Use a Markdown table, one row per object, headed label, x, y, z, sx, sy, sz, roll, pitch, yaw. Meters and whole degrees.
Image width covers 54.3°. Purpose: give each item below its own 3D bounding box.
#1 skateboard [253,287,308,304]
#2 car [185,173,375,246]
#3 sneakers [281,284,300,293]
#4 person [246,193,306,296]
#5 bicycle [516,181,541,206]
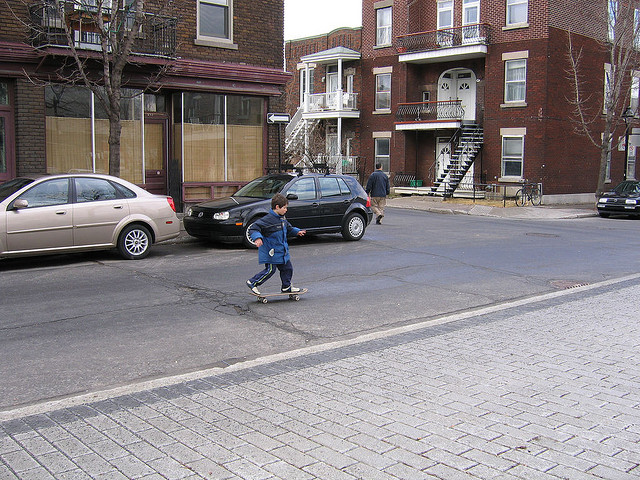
| label | x | y | z | sx | sy | sz | roll | pitch | yaw |
| --- | --- | --- | --- | --- | --- | --- | --- | --- | --- |
| skateboard | -0.589 | 0.901 | 10.113 | 1.084 | 0.176 | 0.286 | -4 | 12 | -21 |
| car | -0.884 | -0.841 | 16.062 | 4.494 | 1.456 | 1.987 | -1 | 4 | -28 |
| sneakers | -0.476 | 0.793 | 10.154 | 0.346 | 0.139 | 0.110 | -2 | 5 | -8 |
| person | -0.697 | 0.103 | 9.946 | 0.858 | 1.692 | 1.060 | 1 | 9 | -1 |
| bicycle | 10.094 | -2.252 | 30.142 | 1.134 | 1.068 | 1.815 | 4 | 10 | 21 |
